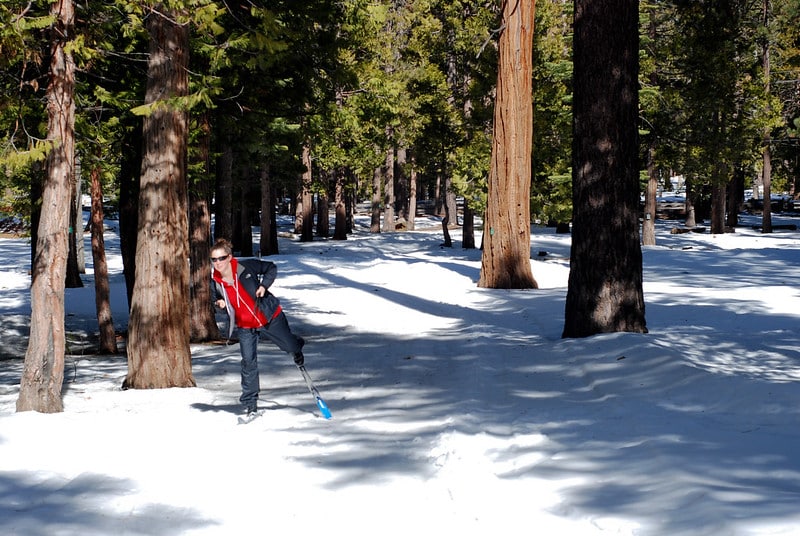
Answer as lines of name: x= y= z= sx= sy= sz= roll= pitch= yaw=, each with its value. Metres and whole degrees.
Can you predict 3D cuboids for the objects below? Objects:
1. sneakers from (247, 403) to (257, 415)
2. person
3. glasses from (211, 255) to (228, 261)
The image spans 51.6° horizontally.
sneakers: x=-2.445 y=2.302 z=13.623 sx=0.168 sy=0.198 sz=0.213 roll=0 pitch=0 yaw=-9
person: x=-2.425 y=0.958 z=13.780 sx=1.419 sy=2.662 sz=0.577 roll=0 pitch=0 yaw=-17
glasses: x=-2.964 y=-0.160 z=13.482 sx=0.290 sy=0.106 sz=0.121 roll=0 pitch=0 yaw=30
